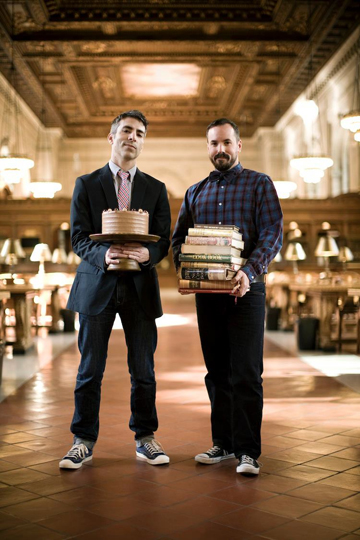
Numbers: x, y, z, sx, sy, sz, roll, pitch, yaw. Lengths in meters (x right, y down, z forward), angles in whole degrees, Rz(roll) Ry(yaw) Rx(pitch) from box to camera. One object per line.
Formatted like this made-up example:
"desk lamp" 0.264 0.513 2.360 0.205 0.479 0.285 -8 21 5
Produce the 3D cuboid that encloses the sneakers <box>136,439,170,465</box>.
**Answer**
"sneakers" -0.137 0.855 2.253 0.072 0.074 0.204 4 -10 -30

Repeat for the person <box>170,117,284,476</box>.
"person" 0.178 0.101 2.189 0.535 1.189 0.505 2 1 12

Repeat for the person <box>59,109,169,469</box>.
"person" -0.273 0.078 2.232 0.497 1.674 0.472 2 1 -11

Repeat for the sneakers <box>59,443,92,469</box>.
"sneakers" -0.465 0.841 2.176 0.092 0.105 0.185 3 1 27

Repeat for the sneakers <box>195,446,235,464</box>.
"sneakers" 0.166 0.881 2.289 0.190 0.061 0.065 9 -15 -42

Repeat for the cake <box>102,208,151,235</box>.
"cake" -0.231 -0.186 1.979 0.145 0.073 0.137 0 0 12

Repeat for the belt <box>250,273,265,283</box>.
"belt" 0.351 0.039 2.118 0.056 0.034 0.052 -3 2 5

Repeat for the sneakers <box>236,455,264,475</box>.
"sneakers" 0.301 0.848 2.097 0.100 0.064 0.162 2 1 9

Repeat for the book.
"book" 0.130 -0.051 2.050 0.270 0.206 0.238 2 1 6

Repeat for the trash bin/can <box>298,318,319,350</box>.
"trash bin/can" 1.646 0.853 6.435 0.338 0.428 0.333 1 -1 31
